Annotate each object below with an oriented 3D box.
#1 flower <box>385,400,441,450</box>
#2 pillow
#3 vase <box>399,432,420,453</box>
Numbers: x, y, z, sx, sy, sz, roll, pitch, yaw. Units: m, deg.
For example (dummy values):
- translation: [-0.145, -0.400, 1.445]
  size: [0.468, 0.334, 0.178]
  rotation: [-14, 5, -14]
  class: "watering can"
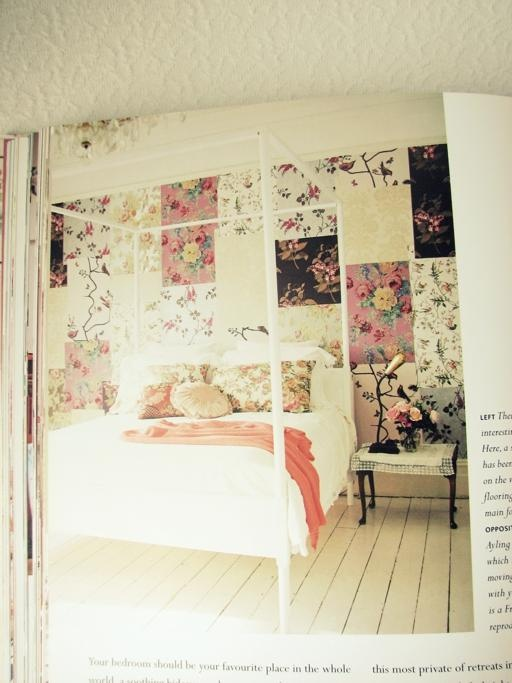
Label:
- translation: [0.315, 0.160, 1.263]
  size: [0.102, 0.097, 0.098]
  rotation: [15, -33, -25]
  class: "flower"
- translation: [-0.087, 0.111, 1.429]
  size: [0.379, 0.119, 0.054]
  rotation: [0, -5, -2]
  class: "pillow"
- translation: [0.309, 0.201, 1.222]
  size: [0.036, 0.046, 0.039]
  rotation: [-2, 1, 13]
  class: "vase"
